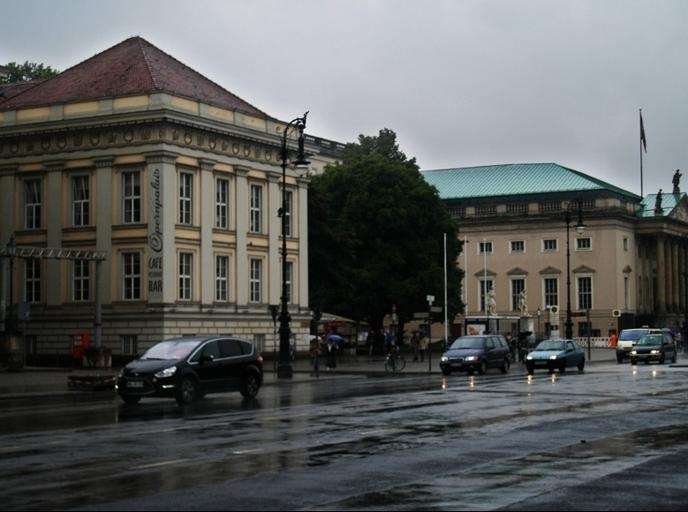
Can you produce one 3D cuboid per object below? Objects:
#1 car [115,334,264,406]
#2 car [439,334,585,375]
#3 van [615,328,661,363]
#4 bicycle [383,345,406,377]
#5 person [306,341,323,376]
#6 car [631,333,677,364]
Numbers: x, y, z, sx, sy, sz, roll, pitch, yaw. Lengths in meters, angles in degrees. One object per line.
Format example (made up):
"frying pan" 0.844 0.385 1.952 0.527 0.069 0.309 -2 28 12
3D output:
"car" -4.611 3.465 28.725 2.042 1.529 3.711 -6 -10 31
"car" 7.974 4.632 44.849 8.055 1.882 2.756 4 -9 -36
"van" 18.198 5.667 60.566 1.867 1.896 3.902 -3 -7 27
"bicycle" 2.642 5.319 48.852 0.986 1.250 2.069 -1 -9 10
"person" -1.307 5.132 48.757 0.602 2.041 0.473 -5 -30 25
"car" 18.069 5.429 55.399 2.081 1.794 4.680 -5 -8 27
